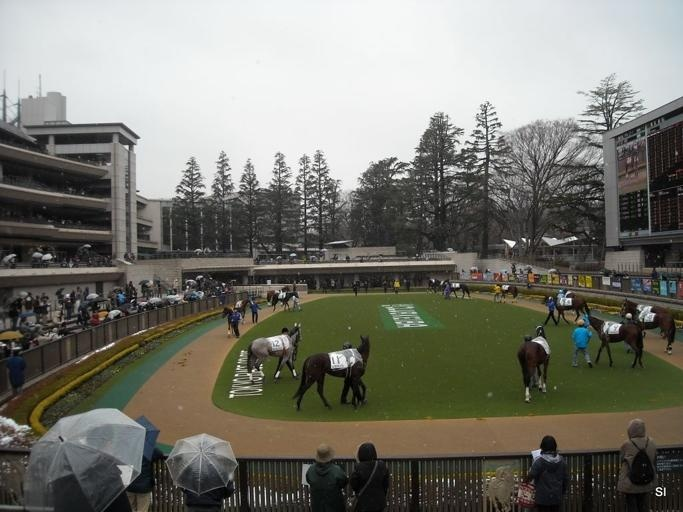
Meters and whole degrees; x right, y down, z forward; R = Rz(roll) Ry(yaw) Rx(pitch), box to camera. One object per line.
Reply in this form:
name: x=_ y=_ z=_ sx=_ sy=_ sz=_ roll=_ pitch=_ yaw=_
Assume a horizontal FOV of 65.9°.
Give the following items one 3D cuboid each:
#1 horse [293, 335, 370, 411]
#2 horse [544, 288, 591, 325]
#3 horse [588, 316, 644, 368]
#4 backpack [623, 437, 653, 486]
horse: x=-0.152 y=4.020 z=18.024 sx=3.173 sy=2.369 sz=0.868 roll=-1 pitch=-4 yaw=-12
horse: x=12.100 y=2.668 z=28.055 sx=0.587 sy=1.737 sz=2.592 roll=-3 pitch=-3 yaw=-33
horse: x=11.434 y=3.413 z=21.716 sx=1.760 sy=1.884 sz=2.582 roll=1 pitch=5 yaw=31
backpack: x=6.594 y=4.478 z=11.423 sx=0.460 sy=0.811 sz=0.464 roll=-14 pitch=-9 yaw=35
